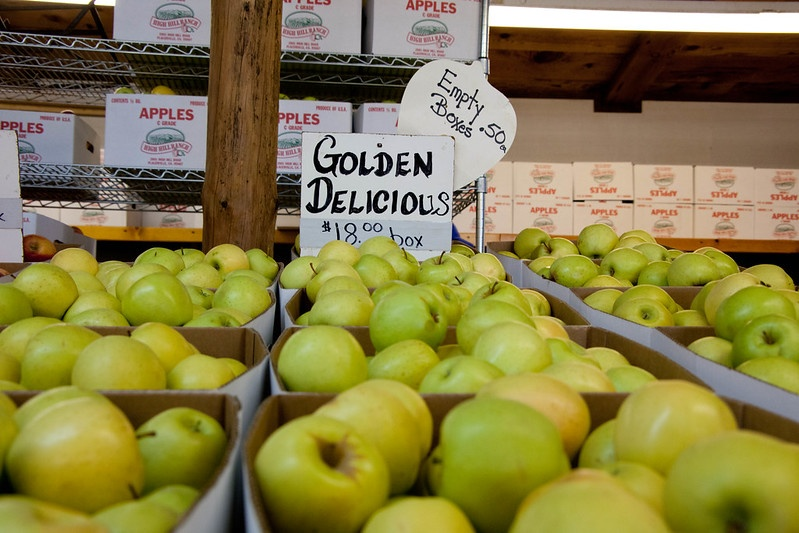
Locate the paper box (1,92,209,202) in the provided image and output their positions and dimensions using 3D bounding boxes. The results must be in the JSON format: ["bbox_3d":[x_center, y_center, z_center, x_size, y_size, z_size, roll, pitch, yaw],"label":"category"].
[{"bbox_3d":[-1.718,-0.560,3.647,1.100,0.777,0.246,0,20,-2],"label":"paper box"}]

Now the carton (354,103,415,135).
[{"bbox_3d":[-0.067,-0.726,3.152,0.251,0.167,0.266,0,33,-5],"label":"carton"}]

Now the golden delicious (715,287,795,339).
[{"bbox_3d":[0.874,0.101,1.588,0.141,0.148,0.167,17,22,35],"label":"golden delicious"}]

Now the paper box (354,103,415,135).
[{"bbox_3d":[-0.067,-0.726,3.152,0.251,0.167,0.266,0,33,-5],"label":"paper box"}]
